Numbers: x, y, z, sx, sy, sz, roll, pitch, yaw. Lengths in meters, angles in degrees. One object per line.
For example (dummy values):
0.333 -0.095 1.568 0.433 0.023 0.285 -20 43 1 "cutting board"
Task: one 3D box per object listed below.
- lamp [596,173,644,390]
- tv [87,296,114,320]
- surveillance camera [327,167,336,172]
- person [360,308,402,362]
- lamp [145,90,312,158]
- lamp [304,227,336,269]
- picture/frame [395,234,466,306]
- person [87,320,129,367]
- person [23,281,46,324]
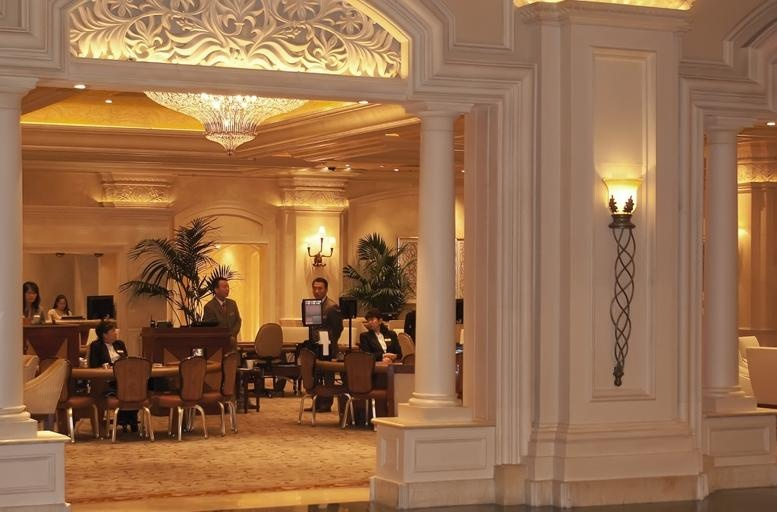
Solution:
2.209 0.238 5.980 0.369 1.939 0.290 -4 -6 18 "lamp"
-6.493 1.168 14.553 0.599 0.499 0.303 0 -1 -14 "tv"
-1.324 -2.052 15.083 0.166 0.055 0.166 1 -7 -7 "surveillance camera"
-0.138 1.465 11.865 0.833 1.421 0.812 -3 -16 -5 "person"
-2.284 -2.008 9.392 2.374 0.816 2.344 12 17 42 "lamp"
-1.715 -0.226 16.212 0.752 0.985 0.341 2 -7 -36 "lamp"
1.006 0.196 16.101 1.754 1.792 3.844 -3 -6 4 "picture/frame"
-4.227 1.388 9.766 0.499 0.714 0.535 7 0 25 "person"
-6.526 0.833 11.860 0.317 0.798 1.519 1 -6 -30 "person"
